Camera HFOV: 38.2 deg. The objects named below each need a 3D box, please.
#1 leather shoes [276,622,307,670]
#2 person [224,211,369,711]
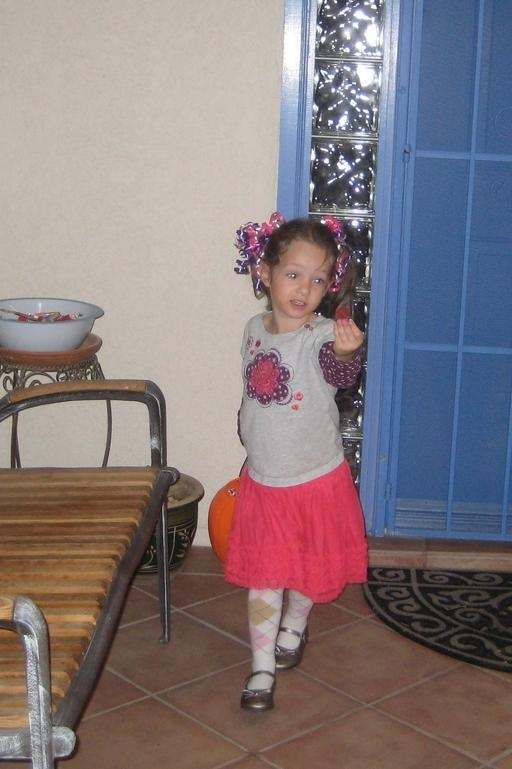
[{"bbox_3d":[0.092,0.662,1.873,0.054,0.043,0.128,1,11,15],"label":"leather shoes"},{"bbox_3d":[0.105,0.161,1.756,0.339,1.119,0.495,2,11,1],"label":"person"}]
